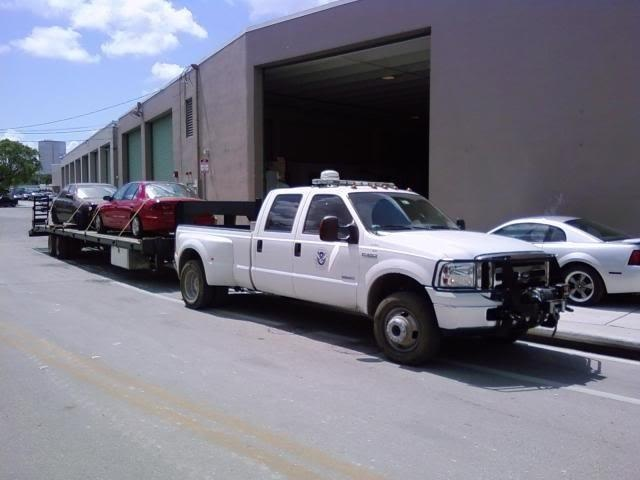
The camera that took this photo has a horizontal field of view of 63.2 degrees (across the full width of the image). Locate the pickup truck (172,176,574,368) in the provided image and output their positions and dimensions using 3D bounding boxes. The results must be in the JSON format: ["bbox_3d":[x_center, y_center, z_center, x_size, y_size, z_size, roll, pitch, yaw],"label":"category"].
[{"bbox_3d":[0.329,0.288,8.405,2.556,2.274,6.078,-1,2,-39],"label":"pickup truck"}]

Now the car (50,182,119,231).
[{"bbox_3d":[-7.883,-1.204,17.371,1.352,0.948,2.735,-1,-1,-37],"label":"car"}]
